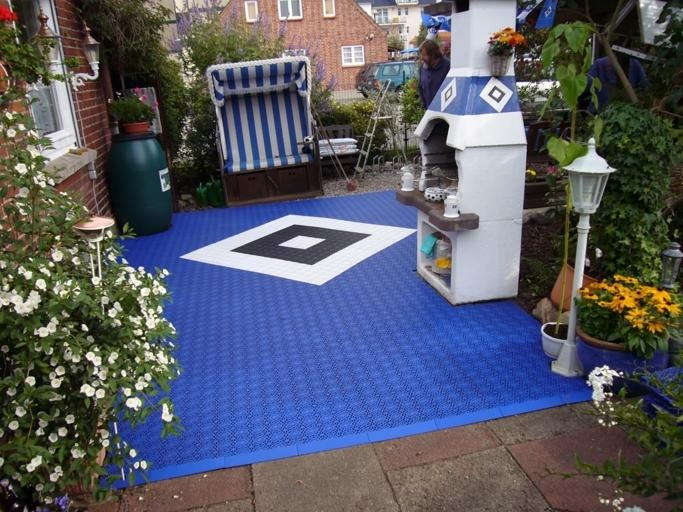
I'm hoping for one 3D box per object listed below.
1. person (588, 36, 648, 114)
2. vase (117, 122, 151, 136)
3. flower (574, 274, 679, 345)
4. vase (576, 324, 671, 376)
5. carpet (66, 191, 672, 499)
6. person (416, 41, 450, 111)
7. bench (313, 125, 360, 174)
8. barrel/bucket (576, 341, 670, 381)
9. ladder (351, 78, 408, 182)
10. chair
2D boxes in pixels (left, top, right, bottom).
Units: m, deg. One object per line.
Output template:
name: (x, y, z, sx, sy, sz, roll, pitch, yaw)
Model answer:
person: (3.383, -2.156, 5.577, 0.642, 0.645, 1.374, 11, 25, 31)
vase: (-3.281, -2.023, 7.220, 0.290, 0.113, 0.300, -6, 16, 5)
flower: (2.120, 0.385, 3.392, 0.550, 0.362, 0.549, 5, 29, 16)
vase: (2.139, 0.683, 3.430, 0.434, 0.315, 0.442, -2, 5, -21)
carpet: (-0.167, 0.577, 4.864, 3.825, 0.189, 4.162, -9, 22, -16)
person: (1.434, -2.843, 7.133, 0.461, 1.012, 0.731, -10, 22, -18)
bench: (-0.058, -2.386, 10.215, 0.885, 1.177, 0.802, -5, 8, -2)
barrel/bucket: (2.087, 0.800, 3.556, 0.412, 0.315, 0.409, -2, 4, 0)
ladder: (1.020, -3.127, 10.873, 1.094, 1.960, 3.003, 4, 22, 17)
chair: (-1.514, -2.318, 8.864, 2.253, 3.088, 1.797, -7, 31, -8)
